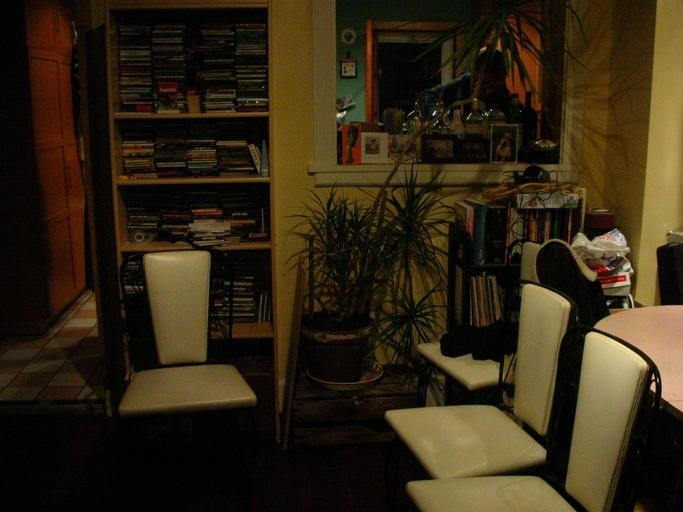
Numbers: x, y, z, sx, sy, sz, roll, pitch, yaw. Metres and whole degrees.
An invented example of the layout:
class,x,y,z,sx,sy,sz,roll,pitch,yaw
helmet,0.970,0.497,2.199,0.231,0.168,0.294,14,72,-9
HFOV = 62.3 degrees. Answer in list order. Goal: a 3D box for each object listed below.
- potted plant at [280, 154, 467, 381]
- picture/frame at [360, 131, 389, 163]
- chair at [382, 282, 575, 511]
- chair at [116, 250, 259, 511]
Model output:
class,x,y,z,sx,sy,sz,roll,pitch,yaw
potted plant,0.242,-0.029,3.776,1.411,1.702,1.108,1,7,0
picture/frame,0.204,-0.691,3.553,0.174,0.179,0.013,-1,8,0
chair,0.546,0.459,2.765,0.745,1.257,0.742,-2,12,-15
chair,-0.783,0.361,2.858,0.626,0.719,0.605,-1,8,-17
